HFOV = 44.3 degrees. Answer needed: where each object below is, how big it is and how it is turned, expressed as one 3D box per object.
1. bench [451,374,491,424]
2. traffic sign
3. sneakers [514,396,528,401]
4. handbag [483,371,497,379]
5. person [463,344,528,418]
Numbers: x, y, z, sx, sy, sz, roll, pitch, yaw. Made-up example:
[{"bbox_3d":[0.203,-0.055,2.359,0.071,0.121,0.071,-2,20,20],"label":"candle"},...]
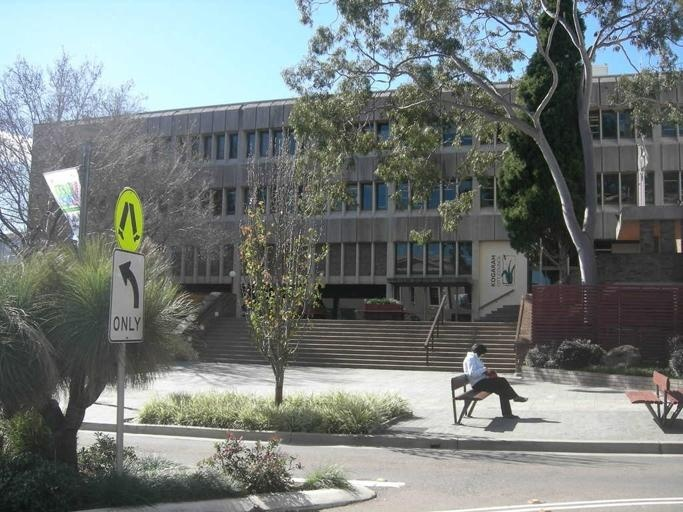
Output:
[{"bbox_3d":[2.909,3.179,18.874,0.607,1.056,1.851,-5,-5,17],"label":"bench"},{"bbox_3d":[-3.348,0.617,13.274,0.701,1.568,0.093,2,0,25],"label":"traffic sign"},{"bbox_3d":[4.013,3.221,18.890,0.224,0.109,0.157,-6,-3,9],"label":"sneakers"},{"bbox_3d":[3.328,2.647,18.807,0.176,0.191,0.334,0,-8,22],"label":"handbag"},{"bbox_3d":[3.495,2.839,18.978,1.301,1.833,0.794,-8,-18,6],"label":"person"}]
